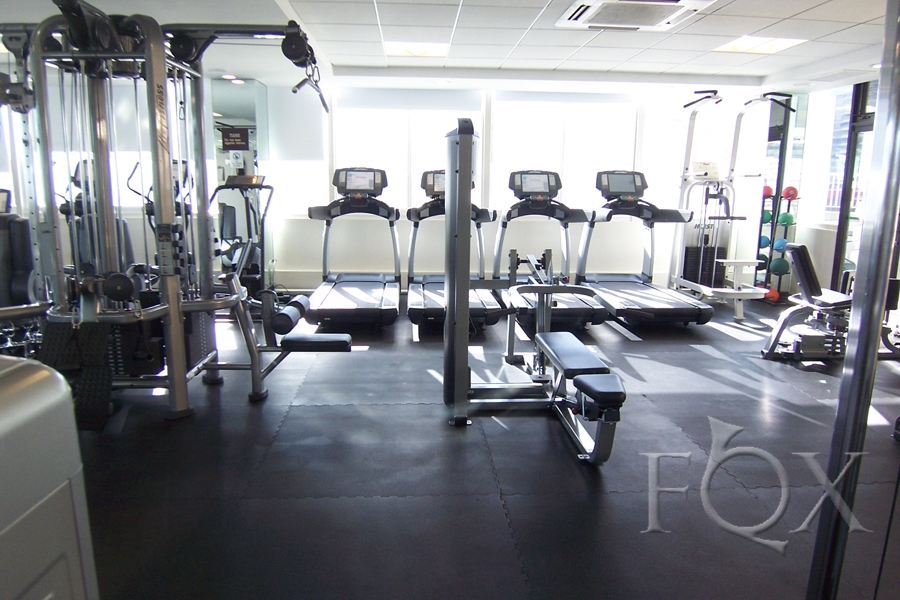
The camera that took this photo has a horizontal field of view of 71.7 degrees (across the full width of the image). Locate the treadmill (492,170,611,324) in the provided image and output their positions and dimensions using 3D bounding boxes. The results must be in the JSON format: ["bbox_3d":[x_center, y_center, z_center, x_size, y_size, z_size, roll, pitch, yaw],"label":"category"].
[{"bbox_3d":[1.108,-0.654,7.125,1.075,1.557,1.903,-2,13,-1],"label":"treadmill"}]

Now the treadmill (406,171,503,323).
[{"bbox_3d":[0.001,-0.659,7.398,1.190,1.639,1.969,-2,14,-7],"label":"treadmill"}]

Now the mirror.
[{"bbox_3d":[4.322,-1.461,8.060,0.602,2.831,0.506,1,15,-2],"label":"mirror"}]

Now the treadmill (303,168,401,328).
[{"bbox_3d":[-1.124,-0.668,7.304,1.253,1.625,1.892,2,16,1],"label":"treadmill"}]
